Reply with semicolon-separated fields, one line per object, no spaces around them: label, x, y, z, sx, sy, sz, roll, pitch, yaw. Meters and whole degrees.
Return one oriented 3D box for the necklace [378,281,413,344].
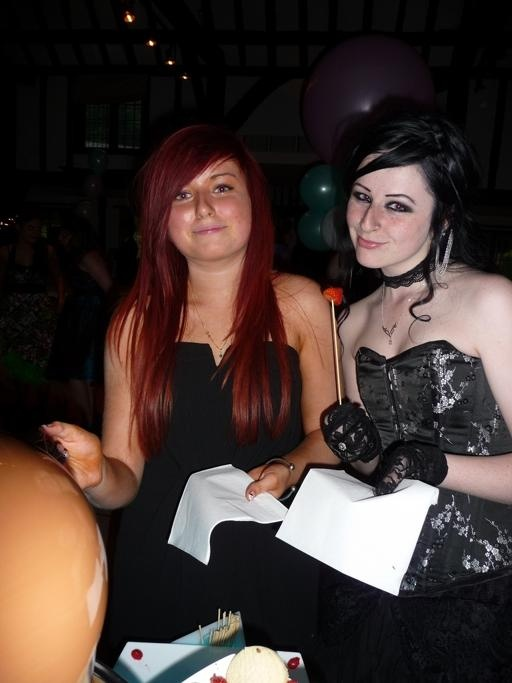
necklace;0.354;-0.073;1.320;0.027;0.149;0.082;6;-12;-35

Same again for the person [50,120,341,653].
person;-0.121;0.095;1.327;0.637;1.232;0.679;2;19;8

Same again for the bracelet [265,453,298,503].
bracelet;0.063;0.326;1.235;0.071;0.096;0.034;28;6;-12

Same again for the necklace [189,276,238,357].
necklace;-0.130;-0.074;1.425;0.129;0.230;0.049;-3;-7;7

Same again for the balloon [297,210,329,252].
balloon;0.419;-0.826;3.887;0.265;0.313;0.270;0;13;7
